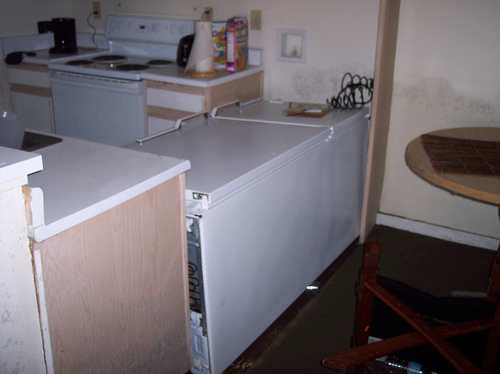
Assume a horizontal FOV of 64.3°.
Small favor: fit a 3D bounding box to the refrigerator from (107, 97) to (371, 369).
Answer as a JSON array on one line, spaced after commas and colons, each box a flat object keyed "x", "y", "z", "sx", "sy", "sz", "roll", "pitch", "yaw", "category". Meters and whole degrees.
[{"x": -0.006, "y": 0.227, "z": 1.770, "sx": 0.573, "sy": 0.553, "sz": 1.101, "roll": 19, "pitch": 32, "yaw": 26, "category": "refrigerator"}]

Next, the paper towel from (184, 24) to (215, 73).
[{"x": -0.352, "y": -0.932, "z": 2.690, "sx": 0.196, "sy": 0.311, "sz": 0.104, "roll": 4, "pitch": 19, "yaw": 3, "category": "paper towel"}]

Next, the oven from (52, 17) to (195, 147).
[{"x": -1.095, "y": -0.727, "z": 3.294, "sx": 0.845, "sy": 1.247, "sz": 0.781, "roll": 15, "pitch": 20, "yaw": 19, "category": "oven"}]
